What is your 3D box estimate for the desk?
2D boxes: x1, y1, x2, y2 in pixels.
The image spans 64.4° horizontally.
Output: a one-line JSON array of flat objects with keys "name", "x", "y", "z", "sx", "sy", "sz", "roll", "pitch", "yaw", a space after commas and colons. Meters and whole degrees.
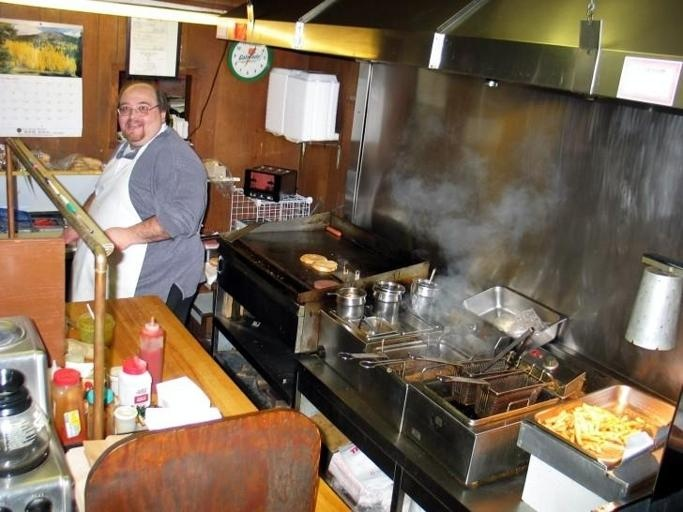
[{"name": "desk", "x": -0.431, "y": 0.481, "z": 1.878, "sx": 0.244, "sy": 0.474, "sz": 0.921, "roll": -7, "pitch": 37, "yaw": -41}]

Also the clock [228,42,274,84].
[{"name": "clock", "x": -0.812, "y": -1.700, "z": 4.791, "sx": 0.388, "sy": 0.314, "sz": 0.119, "roll": -2, "pitch": 14, "yaw": -13}]

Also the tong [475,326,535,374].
[{"name": "tong", "x": 0.708, "y": 0.418, "z": 2.359, "sx": 0.025, "sy": 0.232, "sz": 0.018, "roll": 41, "pitch": 6, "yaw": -30}]

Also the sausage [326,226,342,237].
[{"name": "sausage", "x": -0.051, "y": -0.154, "z": 3.530, "sx": 0.019, "sy": 0.072, "sz": 0.071, "roll": -50, "pitch": 12, "yaw": -31}]

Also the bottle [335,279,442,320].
[{"name": "bottle", "x": 0.202, "y": 0.203, "z": 2.688, "sx": 0.520, "sy": 0.152, "sz": 0.282, "roll": -6, "pitch": 16, "yaw": -30}]

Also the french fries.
[{"name": "french fries", "x": 0.914, "y": 0.626, "z": 1.960, "sx": 0.240, "sy": 0.032, "sz": 0.179, "roll": 13, "pitch": 21, "yaw": 40}]

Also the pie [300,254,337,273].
[{"name": "pie", "x": -0.128, "y": 0.034, "z": 2.996, "sx": 0.100, "sy": 0.028, "sz": 0.167, "roll": -6, "pitch": 16, "yaw": -18}]
